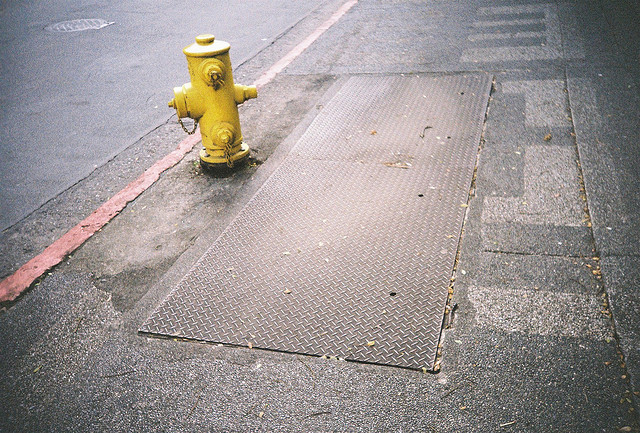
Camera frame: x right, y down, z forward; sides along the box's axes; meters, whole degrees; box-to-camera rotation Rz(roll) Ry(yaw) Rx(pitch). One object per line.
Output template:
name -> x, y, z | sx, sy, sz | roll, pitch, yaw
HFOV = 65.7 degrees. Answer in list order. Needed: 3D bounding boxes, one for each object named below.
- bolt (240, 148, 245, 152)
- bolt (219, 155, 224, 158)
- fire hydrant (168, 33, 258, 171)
bolt -> -1.125, -0.967, 7.179 | 0.050, 0.012, 0.052 | 6, 37, 7
bolt -> -1.398, -0.857, 7.031 | 0.053, 0.021, 0.018 | -29, 37, -23
fire hydrant -> -1.420, -1.546, 6.851 | 0.951, 1.695, 0.901 | -34, 52, -31
